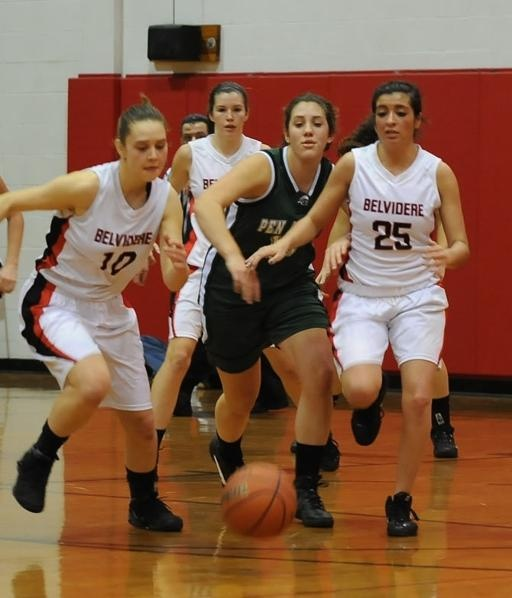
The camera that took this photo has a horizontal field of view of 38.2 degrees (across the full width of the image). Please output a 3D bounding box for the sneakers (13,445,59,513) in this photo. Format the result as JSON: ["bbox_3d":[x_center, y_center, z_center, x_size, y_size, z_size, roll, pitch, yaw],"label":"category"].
[{"bbox_3d":[-0.656,0.538,2.176,0.112,0.185,0.116,1,1,-7],"label":"sneakers"}]

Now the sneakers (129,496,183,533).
[{"bbox_3d":[-0.325,0.707,2.417,0.180,0.070,0.091,-4,-6,40],"label":"sneakers"}]

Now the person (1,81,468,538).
[{"bbox_3d":[-0.220,0.027,2.379,0.629,1.473,1.101,2,2,45],"label":"person"}]
